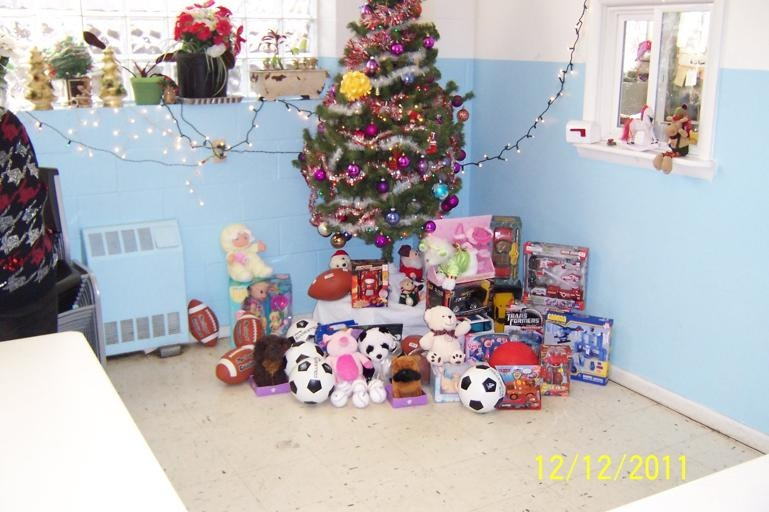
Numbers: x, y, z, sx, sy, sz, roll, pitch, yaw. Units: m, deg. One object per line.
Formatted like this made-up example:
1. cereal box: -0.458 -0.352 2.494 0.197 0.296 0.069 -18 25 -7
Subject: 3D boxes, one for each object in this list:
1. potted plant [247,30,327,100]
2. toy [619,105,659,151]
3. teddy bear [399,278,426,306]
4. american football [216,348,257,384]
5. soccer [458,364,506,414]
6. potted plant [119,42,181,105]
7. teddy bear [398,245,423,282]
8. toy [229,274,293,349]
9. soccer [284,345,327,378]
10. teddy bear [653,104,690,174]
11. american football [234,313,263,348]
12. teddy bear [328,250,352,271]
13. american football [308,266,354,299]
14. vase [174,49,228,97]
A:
1. potted plant: -0.723 -1.423 4.147 0.555 0.525 0.427 -5 14 -12
2. toy: 1.542 -0.792 3.453 0.164 0.258 0.264 -7 15 -18
3. teddy bear: 0.173 0.239 4.056 0.241 0.233 0.175 0 2 -19
4. american football: -0.931 0.687 3.644 0.163 0.176 0.294 7 27 24
5. soccer: 0.556 0.727 3.379 0.260 0.259 0.297 -1 -29 7
6. potted plant: -1.617 -1.190 3.808 0.501 0.312 0.413 7 13 30
7. teddy bear: 0.188 0.062 4.112 0.174 0.246 0.228 -2 14 1
8. toy: -0.888 0.397 3.938 0.508 0.492 0.166 -4 7 -28
9. soccer: -0.488 0.622 3.500 0.211 0.240 0.209 4 4 14
10. teddy bear: 1.651 -0.670 3.227 0.178 0.386 0.307 6 16 29
11. american football: -0.943 0.524 3.877 0.194 0.250 0.162 -1 -19 -18
12. teddy bear: -0.331 0.034 4.085 0.135 0.149 0.149 -1 3 -4
13. american football: -0.381 0.220 3.970 0.283 0.173 0.191 -14 -23 -2
14. vase: -1.298 -1.292 3.959 0.398 0.294 0.393 -1 29 -12
